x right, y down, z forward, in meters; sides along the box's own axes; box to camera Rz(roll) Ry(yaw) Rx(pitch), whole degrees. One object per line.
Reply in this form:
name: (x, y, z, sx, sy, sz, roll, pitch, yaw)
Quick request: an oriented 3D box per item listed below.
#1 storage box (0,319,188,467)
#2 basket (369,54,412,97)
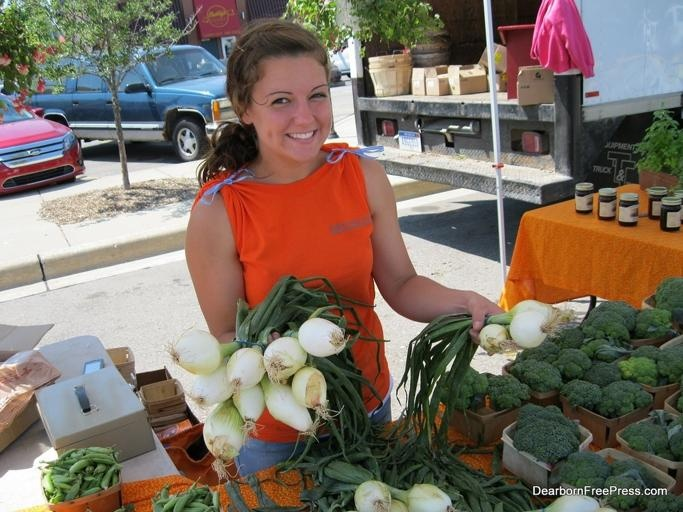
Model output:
storage box: (-1.216, 0.639, 2.478, 0.561, 0.250, 0.806, -16, 36, -23)
basket: (0.642, -2.387, 6.898, 0.594, 0.503, 0.569, -9, 17, -16)
